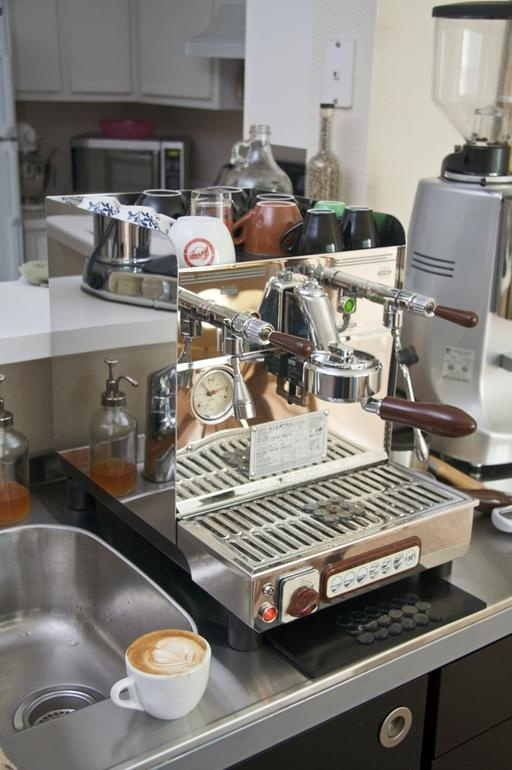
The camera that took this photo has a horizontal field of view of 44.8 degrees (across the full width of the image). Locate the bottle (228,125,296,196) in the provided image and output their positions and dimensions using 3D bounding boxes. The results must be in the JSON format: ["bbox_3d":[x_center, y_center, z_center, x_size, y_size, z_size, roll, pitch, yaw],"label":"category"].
[{"bbox_3d":[0.003,-0.422,1.152,0.105,0.120,0.177,0,17,-6],"label":"bottle"}]

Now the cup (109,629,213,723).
[{"bbox_3d":[-0.065,0.193,0.442,0.046,0.037,0.069,12,18,35],"label":"cup"}]

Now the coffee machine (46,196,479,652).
[{"bbox_3d":[0.002,-0.039,0.752,0.306,0.401,0.517,-12,24,-32],"label":"coffee machine"}]
